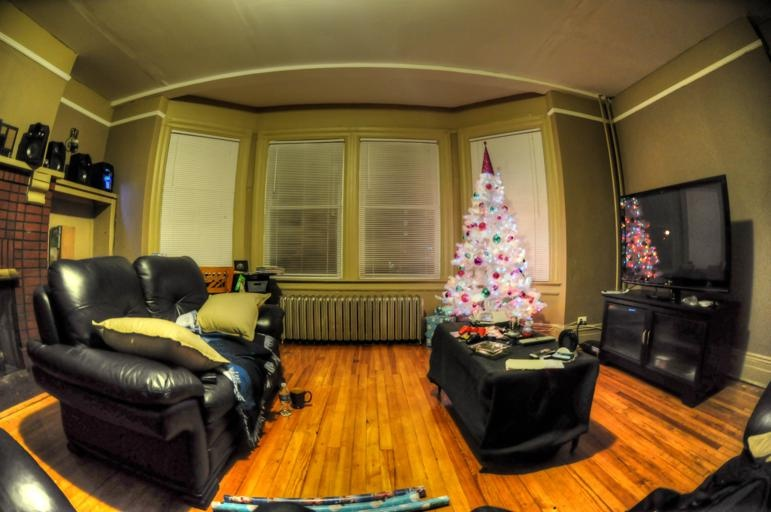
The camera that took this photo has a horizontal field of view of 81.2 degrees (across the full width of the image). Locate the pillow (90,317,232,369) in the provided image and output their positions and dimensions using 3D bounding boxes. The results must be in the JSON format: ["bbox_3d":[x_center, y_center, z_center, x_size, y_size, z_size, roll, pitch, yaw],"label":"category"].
[{"bbox_3d":[-1.967,0.778,3.955,1.070,0.486,0.249,1,3,7],"label":"pillow"}]

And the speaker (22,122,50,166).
[{"bbox_3d":[-3.809,-1.209,4.928,0.219,0.469,0.226,-2,3,-38],"label":"speaker"}]

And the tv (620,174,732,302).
[{"bbox_3d":[3.194,-0.252,4.982,0.121,1.193,0.996,-2,3,-38],"label":"tv"}]

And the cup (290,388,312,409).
[{"bbox_3d":[-0.882,1.475,4.754,0.251,0.196,0.190,-2,4,-31],"label":"cup"}]

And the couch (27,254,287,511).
[{"bbox_3d":[-2.086,1.056,4.292,1.901,2.087,1.195,1,3,11],"label":"couch"}]

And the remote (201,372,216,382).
[{"bbox_3d":[-1.557,1.071,3.989,0.084,0.032,0.091,17,33,-4],"label":"remote"}]

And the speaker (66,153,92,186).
[{"bbox_3d":[-3.808,-1.083,5.594,0.274,0.386,0.261,-1,3,-31],"label":"speaker"}]

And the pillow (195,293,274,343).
[{"bbox_3d":[-1.633,0.613,4.692,0.501,0.157,0.502,10,32,0],"label":"pillow"}]

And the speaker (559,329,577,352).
[{"bbox_3d":[1.773,0.794,4.356,0.127,0.230,0.079,5,8,29],"label":"speaker"}]
